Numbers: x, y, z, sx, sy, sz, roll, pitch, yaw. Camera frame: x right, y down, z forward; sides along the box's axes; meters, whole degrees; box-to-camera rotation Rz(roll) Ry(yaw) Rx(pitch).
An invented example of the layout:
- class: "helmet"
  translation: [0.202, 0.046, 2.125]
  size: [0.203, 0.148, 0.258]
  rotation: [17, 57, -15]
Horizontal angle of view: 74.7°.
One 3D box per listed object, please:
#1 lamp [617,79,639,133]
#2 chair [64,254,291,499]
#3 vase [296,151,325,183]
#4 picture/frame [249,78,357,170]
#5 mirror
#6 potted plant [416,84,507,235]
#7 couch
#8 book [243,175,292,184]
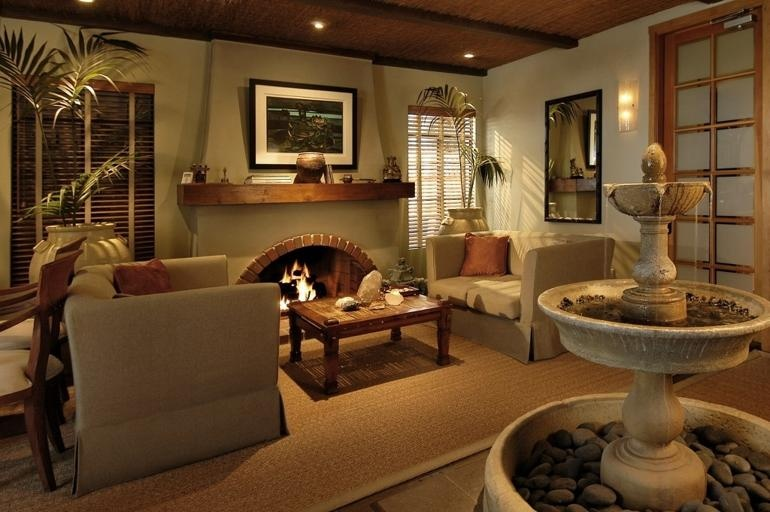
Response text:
- class: "lamp"
  translation: [2.395, -1.484, 4.989]
  size: [0.173, 0.495, 0.193]
  rotation: [3, 15, 21]
- class: "chair"
  translation: [-1.493, 0.658, 3.703]
  size: [1.351, 1.114, 1.365]
  rotation: [-4, 6, -32]
- class: "vase"
  translation: [-0.836, -0.991, 5.782]
  size: [0.342, 0.297, 0.346]
  rotation: [0, -1, 0]
- class: "picture/frame"
  translation: [-0.984, -1.521, 5.759]
  size: [1.172, 0.821, 0.039]
  rotation: [1, -1, -28]
- class: "mirror"
  translation: [2.259, -1.184, 6.053]
  size: [0.297, 1.501, 0.921]
  rotation: [-9, 15, -26]
- class: "potted plant"
  translation: [1.031, -1.490, 6.863]
  size: [1.075, 1.664, 0.564]
  rotation: [-7, 15, -22]
- class: "couch"
  translation: [1.522, 0.331, 5.286]
  size: [1.350, 1.060, 1.694]
  rotation: [-7, 8, -38]
- class: "book"
  translation: [-1.280, -0.863, 5.666]
  size: [0.237, 0.055, 0.223]
  rotation: [0, 1, 10]
